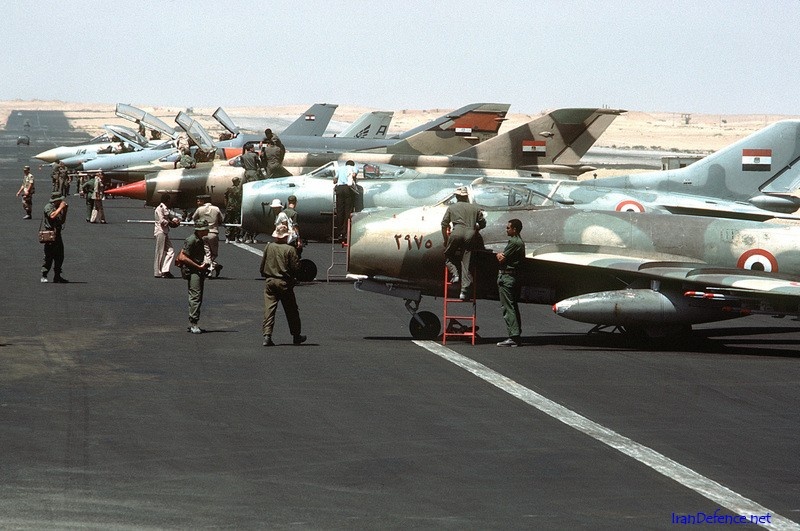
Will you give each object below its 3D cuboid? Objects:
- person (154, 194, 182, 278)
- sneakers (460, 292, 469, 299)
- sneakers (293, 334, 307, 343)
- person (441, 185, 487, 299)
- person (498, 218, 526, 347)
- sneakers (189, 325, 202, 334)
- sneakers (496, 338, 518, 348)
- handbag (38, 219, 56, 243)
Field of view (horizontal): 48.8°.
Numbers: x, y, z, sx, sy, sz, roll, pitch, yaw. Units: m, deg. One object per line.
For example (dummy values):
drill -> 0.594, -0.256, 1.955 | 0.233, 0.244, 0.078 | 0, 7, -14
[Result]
person -> -7.084, -0.851, 26.603 | 0.704, 2.434, 1.497 | 2, 6, -14
sneakers -> 1.335, 0.645, 18.190 | 0.216, 0.121, 0.097 | 0, 0, -6
sneakers -> -2.079, 1.510, 17.980 | 0.173, 0.156, 0.228 | -3, -1, 42
person -> 1.236, -0.263, 18.170 | 0.750, 1.987, 0.380 | 6, 7, 20
person -> 2.265, 0.361, 18.291 | 0.616, 2.608, 0.828 | 4, 6, 5
sneakers -> -4.363, 1.363, 18.718 | 0.264, 0.181, 0.272 | 1, 5, -12
sneakers -> 2.207, 1.599, 18.139 | 0.503, 0.140, 0.160 | 2, 1, -1
handbag -> -9.737, -0.825, 24.306 | 0.386, 0.492, 0.561 | 1, 5, -20
